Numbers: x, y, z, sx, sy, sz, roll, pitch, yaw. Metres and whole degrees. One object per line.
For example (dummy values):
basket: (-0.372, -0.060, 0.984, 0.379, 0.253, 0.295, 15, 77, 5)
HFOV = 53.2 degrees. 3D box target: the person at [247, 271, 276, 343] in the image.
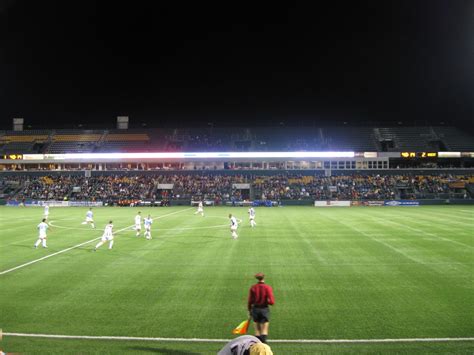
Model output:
person: (1.153, 6.242, 22.513, 1.206, 3.375, 0.623, -3, -2, 1)

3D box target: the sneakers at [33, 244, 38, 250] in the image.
sneakers: (-14.025, 4.804, 32.957, 0.584, 0.241, 0.217, -1, -2, 35)

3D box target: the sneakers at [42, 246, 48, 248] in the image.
sneakers: (-13.303, 4.835, 32.918, 0.273, 0.126, 0.422, -2, -2, -21)
